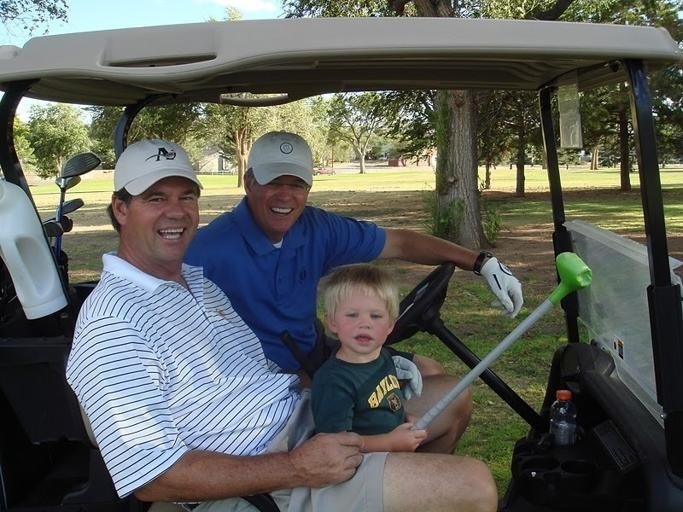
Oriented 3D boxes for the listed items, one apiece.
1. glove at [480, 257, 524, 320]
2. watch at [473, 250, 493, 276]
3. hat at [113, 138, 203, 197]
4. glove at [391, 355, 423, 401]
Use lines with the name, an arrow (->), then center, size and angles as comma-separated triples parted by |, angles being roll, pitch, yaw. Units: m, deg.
glove -> 0.724, 0.136, 2.448 | 0.208, 0.263, 0.109 | 3, -43, -43
watch -> 0.643, 0.027, 2.541 | 0.051, 0.103, 0.083 | 25, 5, 2
hat -> -0.647, -0.302, 1.904 | 0.210, 0.131, 0.271 | -5, 7, -36
glove -> 0.269, 0.469, 2.152 | 0.170, 0.066, 0.165 | 28, 6, 2
